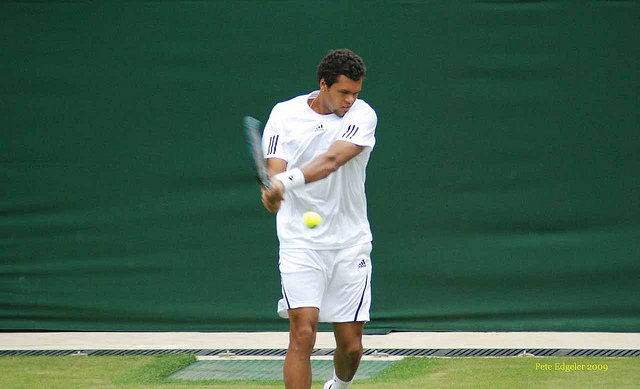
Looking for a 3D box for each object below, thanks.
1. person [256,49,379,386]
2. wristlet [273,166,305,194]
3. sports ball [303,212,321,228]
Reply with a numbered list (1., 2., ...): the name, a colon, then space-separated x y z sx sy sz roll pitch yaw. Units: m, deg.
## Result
1. person: -0.011 0.170 7.684 0.917 2.485 0.512 -2 -4 -3
2. wristlet: -0.221 -0.113 7.400 0.239 0.132 0.107 -9 1 -16
3. sports ball: -0.066 0.183 7.629 0.128 0.087 0.094 -1 8 -6
